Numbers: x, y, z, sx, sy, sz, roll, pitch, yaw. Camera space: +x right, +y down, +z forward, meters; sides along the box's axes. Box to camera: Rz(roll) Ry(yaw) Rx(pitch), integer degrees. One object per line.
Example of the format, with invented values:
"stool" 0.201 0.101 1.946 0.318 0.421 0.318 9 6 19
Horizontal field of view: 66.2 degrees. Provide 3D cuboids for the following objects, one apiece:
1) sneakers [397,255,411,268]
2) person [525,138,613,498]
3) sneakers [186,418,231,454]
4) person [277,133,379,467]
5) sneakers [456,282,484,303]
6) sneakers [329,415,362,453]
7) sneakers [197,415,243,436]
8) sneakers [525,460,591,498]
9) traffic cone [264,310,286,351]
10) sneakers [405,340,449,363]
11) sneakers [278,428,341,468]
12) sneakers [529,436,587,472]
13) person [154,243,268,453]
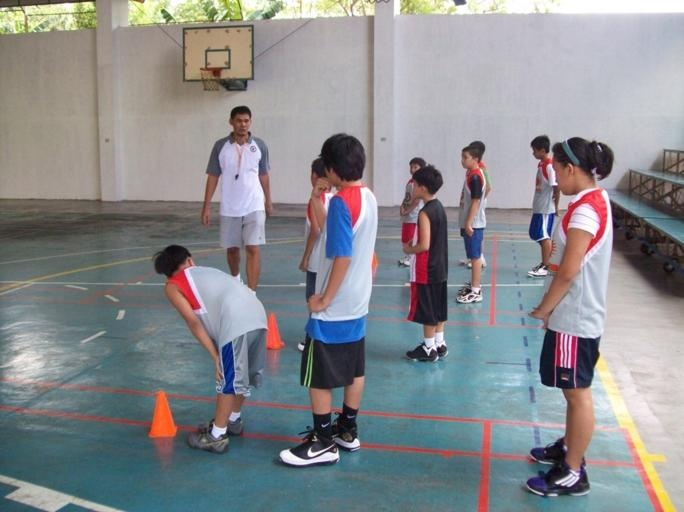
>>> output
"sneakers" 1.004 0.084 8.375 0.143 0.177 0.404 -1 -4 8
"person" 1.226 0.346 2.817 0.360 1.914 0.440 6 14 27
"sneakers" -0.834 1.155 3.329 0.238 0.147 0.147 11 5 11
"person" -0.059 0.288 3.021 0.286 1.926 0.547 11 17 43
"sneakers" 1.541 0.475 6.357 0.387 0.204 0.157 -1 2 -6
"sneakers" 0.014 1.095 3.286 0.110 0.144 0.303 -4 12 -19
"sneakers" -0.789 1.119 3.417 0.299 0.137 0.111 2 4 -9
"sneakers" 1.190 1.243 2.945 0.377 0.192 0.154 1 6 0
"traffic cone" -0.657 0.743 5.016 0.255 0.310 0.259 -2 -3 -21
"sneakers" 0.756 0.852 4.637 0.372 0.180 0.147 0 6 3
"sneakers" -0.186 1.169 3.206 0.402 0.221 0.161 1 1 -7
"sneakers" 1.312 1.180 3.117 0.337 0.155 0.127 1 6 3
"person" -0.790 0.574 3.269 0.642 1.258 0.371 2 12 12
